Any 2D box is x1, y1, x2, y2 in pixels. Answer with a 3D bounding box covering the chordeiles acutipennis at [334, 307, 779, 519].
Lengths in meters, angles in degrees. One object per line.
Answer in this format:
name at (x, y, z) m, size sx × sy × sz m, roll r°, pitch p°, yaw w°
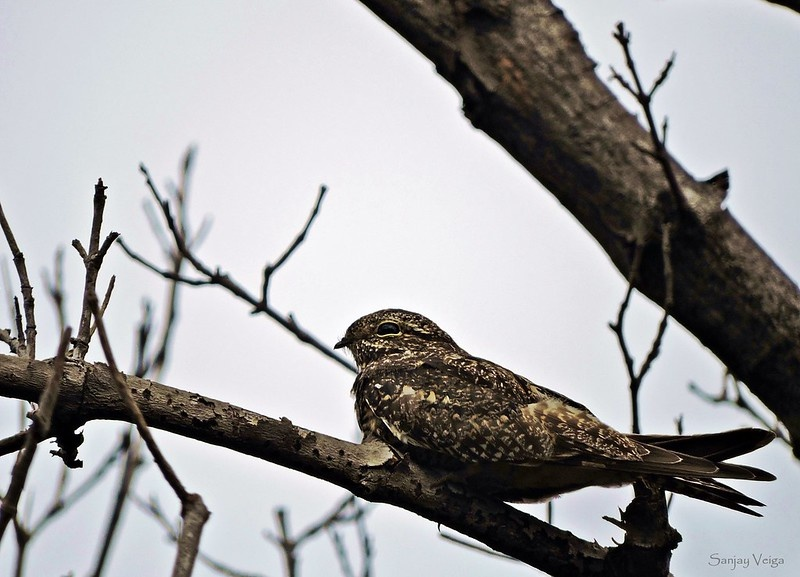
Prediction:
chordeiles acutipennis at (0.753, 0.709, 9.199) m, size 2.410 × 1.191 × 0.872 m, roll 0°, pitch -21°, yaw 12°
